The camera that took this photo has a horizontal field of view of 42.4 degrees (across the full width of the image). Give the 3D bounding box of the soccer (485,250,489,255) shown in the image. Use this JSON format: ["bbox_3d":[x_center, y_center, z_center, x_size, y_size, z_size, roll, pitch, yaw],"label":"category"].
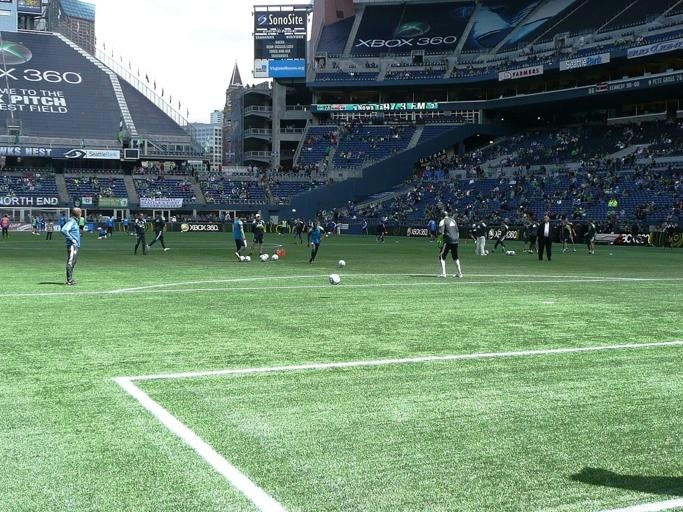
[{"bbox_3d":[6.641,-0.150,40.371,0.149,0.167,0.193,-9,-19,35],"label":"soccer"}]

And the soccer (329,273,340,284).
[{"bbox_3d":[-0.166,0.609,22.410,0.221,0.234,0.260,3,6,-3],"label":"soccer"}]

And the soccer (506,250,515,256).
[{"bbox_3d":[7.327,-0.105,38.377,0.307,0.138,0.396,0,-1,-1],"label":"soccer"}]
